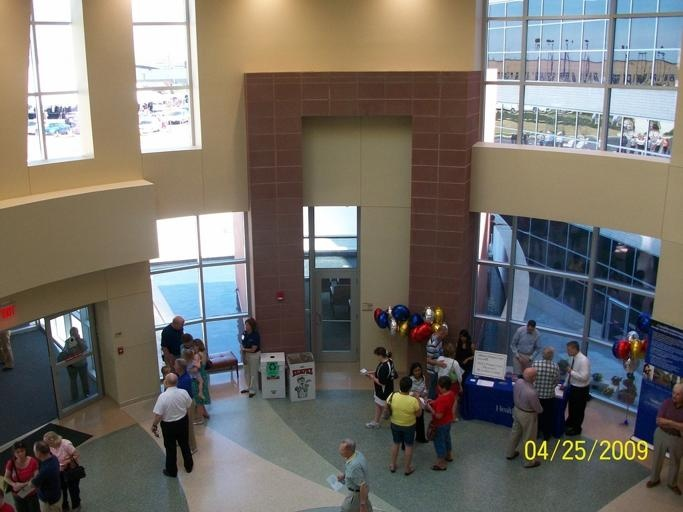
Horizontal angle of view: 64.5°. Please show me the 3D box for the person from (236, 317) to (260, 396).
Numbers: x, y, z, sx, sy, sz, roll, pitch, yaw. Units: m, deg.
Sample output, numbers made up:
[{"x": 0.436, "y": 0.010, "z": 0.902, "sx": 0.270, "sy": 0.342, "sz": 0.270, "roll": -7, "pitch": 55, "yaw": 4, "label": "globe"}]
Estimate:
[{"x": -2.022, "y": 2.206, "z": 11.911, "sx": 0.441, "sy": 1.701, "sz": 0.481, "roll": -2, "pitch": 9, "yaw": -7, "label": "person"}]

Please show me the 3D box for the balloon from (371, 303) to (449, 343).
[{"x": 1.538, "y": 1.473, "z": 12.131, "sx": 1.338, "sy": 0.807, "sz": 0.656, "roll": -8, "pitch": -7, "yaw": 26, "label": "balloon"}]

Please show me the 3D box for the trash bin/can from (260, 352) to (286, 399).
[{"x": -1.500, "y": 2.623, "z": 11.878, "sx": 0.559, "sy": 0.881, "sz": 0.460, "roll": -2, "pitch": 9, "yaw": -8, "label": "trash bin/can"}]

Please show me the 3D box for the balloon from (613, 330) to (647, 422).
[{"x": 5.541, "y": 2.383, "z": 10.513, "sx": 0.536, "sy": 1.897, "sz": 1.087, "roll": 3, "pitch": 10, "yaw": 27, "label": "balloon"}]

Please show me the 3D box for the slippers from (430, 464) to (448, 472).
[{"x": 1.713, "y": 3.743, "z": 9.588, "sx": 0.227, "sy": 0.066, "sz": 0.107, "roll": 0, "pitch": 32, "yaw": 5, "label": "slippers"}]

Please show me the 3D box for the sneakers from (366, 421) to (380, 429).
[{"x": 0.614, "y": 3.351, "z": 10.788, "sx": 0.275, "sy": 0.137, "sz": 0.124, "roll": 2, "pitch": 21, "yaw": 5, "label": "sneakers"}]

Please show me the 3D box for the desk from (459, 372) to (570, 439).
[{"x": 2.953, "y": 2.903, "z": 10.803, "sx": 1.497, "sy": 0.786, "sz": 1.043, "roll": 7, "pitch": 19, "yaw": 26, "label": "desk"}]

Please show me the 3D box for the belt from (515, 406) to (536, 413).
[{"x": 3.229, "y": 2.694, "z": 9.493, "sx": 0.346, "sy": 0.086, "sz": 0.085, "roll": 1, "pitch": 9, "yaw": 16, "label": "belt"}]

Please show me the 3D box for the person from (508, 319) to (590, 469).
[{"x": 3.600, "y": 2.672, "z": 9.994, "sx": 0.667, "sy": 1.985, "sz": 1.372, "roll": 6, "pitch": 11, "yaw": 38, "label": "person"}]

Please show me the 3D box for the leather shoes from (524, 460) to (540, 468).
[{"x": 3.386, "y": 3.699, "z": 9.614, "sx": 0.286, "sy": 0.120, "sz": 0.111, "roll": -14, "pitch": 44, "yaw": -1, "label": "leather shoes"}]

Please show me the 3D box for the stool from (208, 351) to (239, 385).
[{"x": -2.697, "y": 2.555, "z": 12.351, "sx": 0.680, "sy": 0.564, "sz": 0.690, "roll": -4, "pitch": 25, "yaw": -16, "label": "stool"}]

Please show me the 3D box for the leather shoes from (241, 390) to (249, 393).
[{"x": -2.154, "y": 2.990, "z": 12.000, "sx": 0.137, "sy": 0.061, "sz": 0.053, "roll": 2, "pitch": 21, "yaw": -18, "label": "leather shoes"}]
